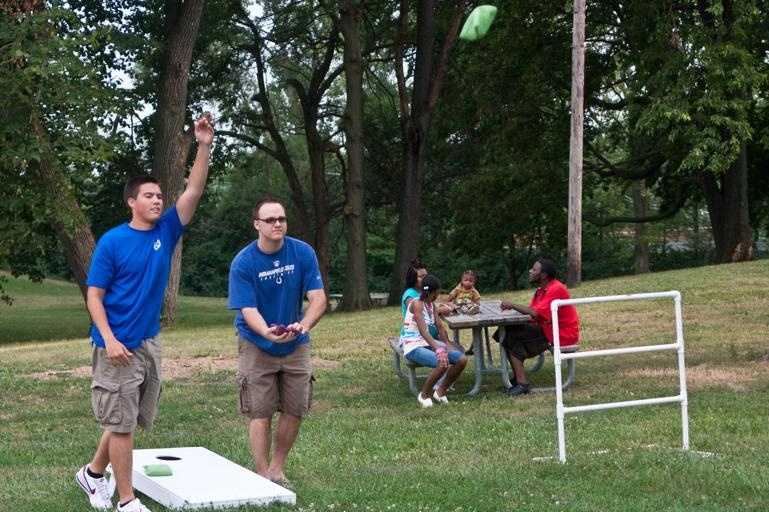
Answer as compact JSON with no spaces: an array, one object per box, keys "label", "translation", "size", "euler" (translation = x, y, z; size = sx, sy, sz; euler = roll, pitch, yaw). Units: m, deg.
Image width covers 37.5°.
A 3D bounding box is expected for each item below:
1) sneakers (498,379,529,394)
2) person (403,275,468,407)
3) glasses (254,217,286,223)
[{"label":"sneakers","translation":[3.241,3.259,28.130],"size":[0.608,0.289,0.284],"euler":[3,-7,-1]},{"label":"person","translation":[1.147,2.071,27.765],"size":[1.433,3.163,1.015],"euler":[-1,-1,-5]},{"label":"glasses","translation":[-2.460,-0.753,24.320],"size":[0.622,0.130,0.198],"euler":[-1,-2,-10]}]
